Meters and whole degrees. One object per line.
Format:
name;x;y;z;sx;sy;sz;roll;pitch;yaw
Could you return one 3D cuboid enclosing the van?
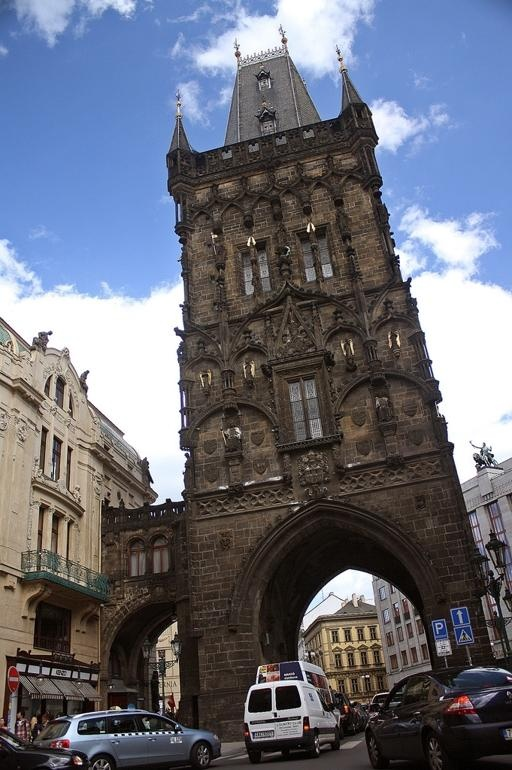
van;0.759;6.943;13.627;1.570;1.673;3.300;-9;-30;15
